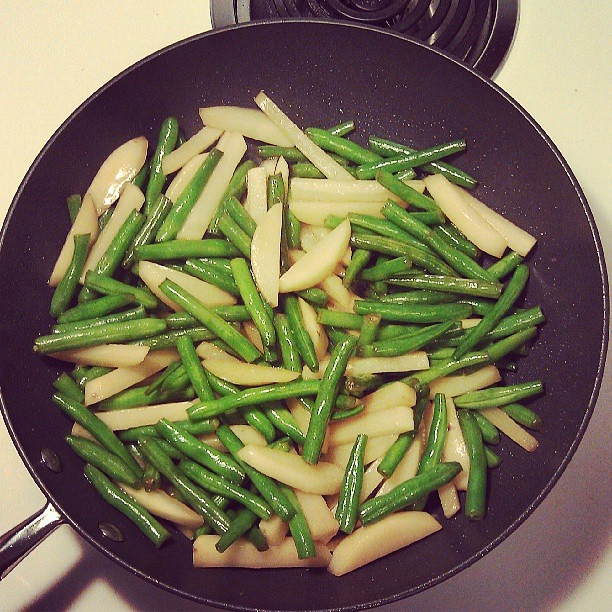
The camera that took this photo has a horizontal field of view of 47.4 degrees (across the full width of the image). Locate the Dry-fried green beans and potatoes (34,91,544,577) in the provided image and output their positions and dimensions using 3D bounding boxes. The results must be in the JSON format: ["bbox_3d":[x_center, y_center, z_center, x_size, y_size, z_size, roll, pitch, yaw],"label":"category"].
[{"bbox_3d":[-0.040,0.077,2.090,1.497,0.331,1.468,14,85,1],"label":"Dry-fried green beans and potatoes"}]
